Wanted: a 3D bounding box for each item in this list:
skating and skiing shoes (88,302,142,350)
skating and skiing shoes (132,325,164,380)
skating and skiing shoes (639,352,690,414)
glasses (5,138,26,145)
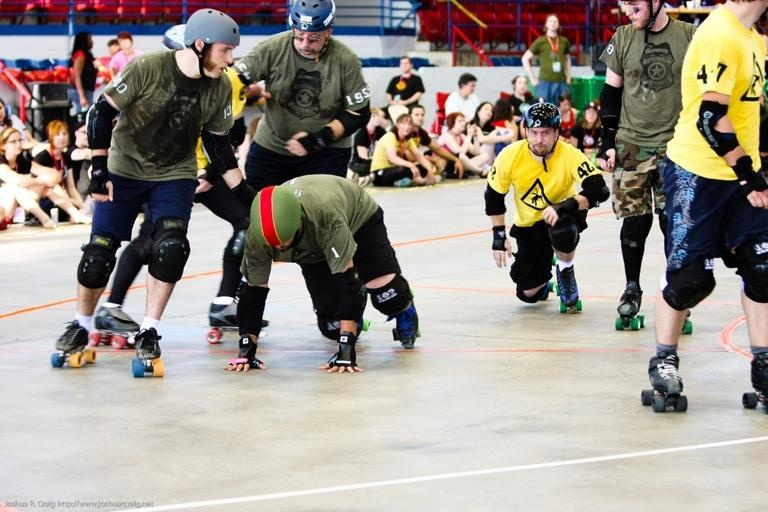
[{"bbox_3d":[-1.864,0.494,5.431,0.393,0.257,0.273,4,7,21],"label":"skating and skiing shoes"},{"bbox_3d":[-1.446,0.608,4.716,0.147,0.194,0.282,-2,10,-7],"label":"skating and skiing shoes"},{"bbox_3d":[1.465,0.682,4.029,0.148,0.226,0.405,0,-4,-3],"label":"skating and skiing shoes"},{"bbox_3d":[-4.815,-1.496,10.046,0.192,0.048,0.187,-1,0,-29],"label":"glasses"}]
